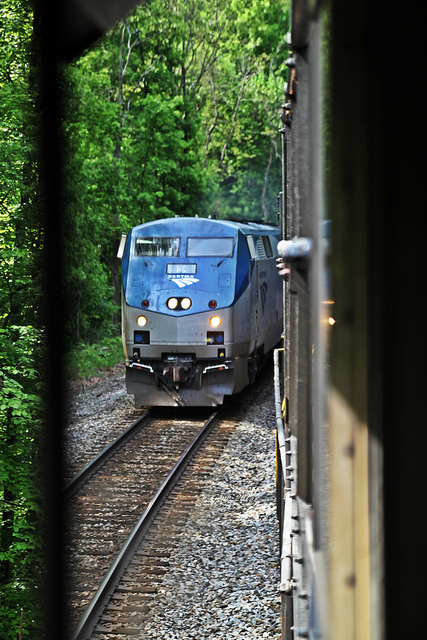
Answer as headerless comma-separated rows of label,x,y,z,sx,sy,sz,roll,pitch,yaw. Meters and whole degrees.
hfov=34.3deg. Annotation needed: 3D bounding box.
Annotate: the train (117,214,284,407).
train,-0.122,-0.299,13.097,1.986,3.365,3.381,-1,6,22
